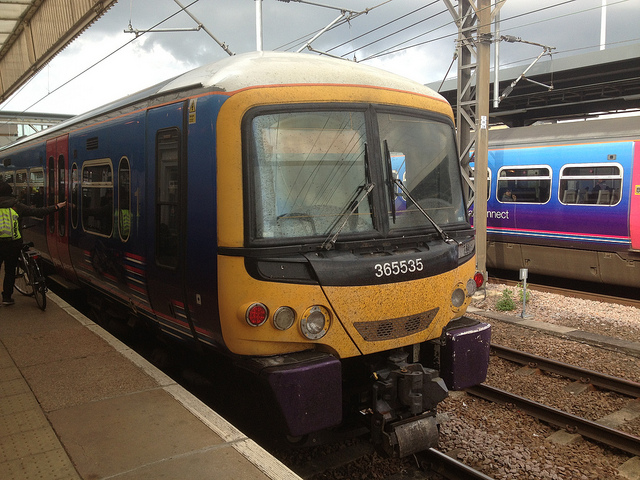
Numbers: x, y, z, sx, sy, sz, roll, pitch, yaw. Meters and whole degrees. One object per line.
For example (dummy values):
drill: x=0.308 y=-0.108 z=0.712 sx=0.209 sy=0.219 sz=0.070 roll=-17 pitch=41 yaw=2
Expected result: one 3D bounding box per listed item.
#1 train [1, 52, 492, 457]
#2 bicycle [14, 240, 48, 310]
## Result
train: x=-0.844 y=0.072 z=4.951 sx=4.888 sy=3.919 sz=2.176 roll=3 pitch=11 yaw=30
bicycle: x=-5.878 y=0.612 z=8.984 sx=0.518 sy=1.192 sz=3.102 roll=-10 pitch=12 yaw=-34
